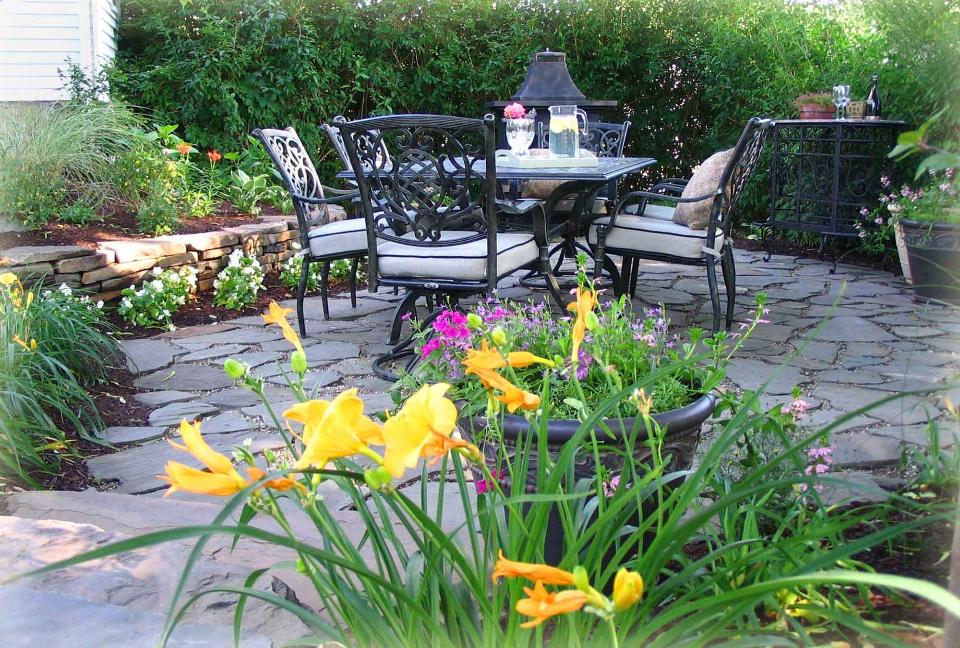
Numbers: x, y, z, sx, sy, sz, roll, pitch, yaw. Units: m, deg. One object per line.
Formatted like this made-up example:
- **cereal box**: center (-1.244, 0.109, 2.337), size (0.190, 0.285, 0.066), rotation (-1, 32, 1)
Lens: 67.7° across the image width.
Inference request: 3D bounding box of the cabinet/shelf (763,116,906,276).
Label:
- **cabinet/shelf**: center (3.284, -1.170, 6.537), size (0.598, 1.356, 1.491), rotation (-8, 18, -22)

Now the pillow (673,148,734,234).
- **pillow**: center (1.396, -0.856, 4.410), size (0.162, 0.506, 0.533), rotation (29, 0, -4)

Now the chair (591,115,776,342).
- **chair**: center (1.257, -0.641, 4.643), size (0.984, 1.279, 0.793), rotation (13, 22, 31)

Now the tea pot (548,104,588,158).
- **tea pot**: center (0.602, -1.234, 4.692), size (0.239, 0.323, 0.206), rotation (-1, 6, -12)

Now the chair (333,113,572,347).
- **chair**: center (-0.159, -0.546, 3.997), size (1.158, 1.252, 1.073), rotation (15, 27, 41)

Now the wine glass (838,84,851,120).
- **wine glass**: center (3.287, -1.993, 6.455), size (0.115, 0.272, 0.169), rotation (5, 19, 26)

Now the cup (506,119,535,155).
- **cup**: center (0.261, -1.252, 4.823), size (0.218, 0.315, 0.214), rotation (-1, 17, 0)

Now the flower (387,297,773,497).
- **flower**: center (0.244, 0.155, 1.701), size (0.695, 0.395, 0.696), rotation (-1, 1, -9)

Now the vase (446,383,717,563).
- **vase**: center (0.313, 0.472, 2.191), size (0.755, 0.448, 0.746), rotation (0, -2, -26)

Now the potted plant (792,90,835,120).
- **potted plant**: center (3.167, -2.044, 6.772), size (0.379, 0.229, 0.336), rotation (9, 21, 36)
